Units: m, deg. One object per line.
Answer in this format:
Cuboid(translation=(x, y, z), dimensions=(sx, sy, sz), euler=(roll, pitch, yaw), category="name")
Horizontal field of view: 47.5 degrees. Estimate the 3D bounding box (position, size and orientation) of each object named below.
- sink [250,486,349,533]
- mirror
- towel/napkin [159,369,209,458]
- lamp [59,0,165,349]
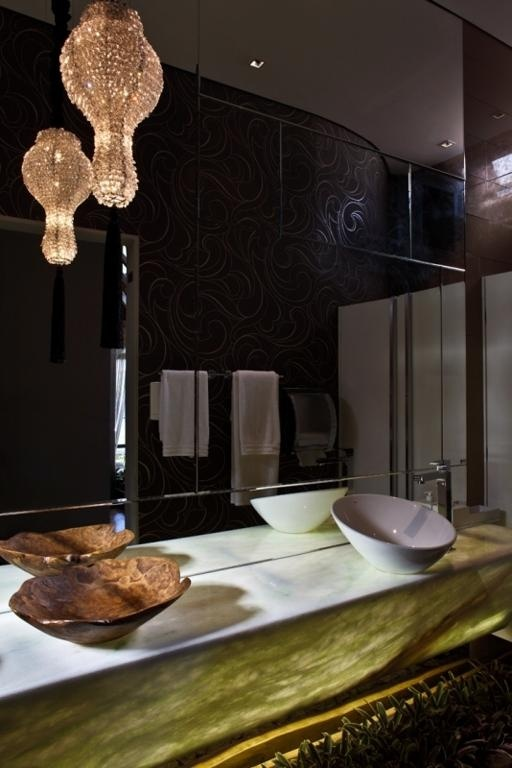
Cuboid(translation=(0.130, 0.424, 1.977), dimensions=(0.192, 0.083, 0.203), euler=(-17, -19, 31), category="sink")
Cuboid(translation=(-0.095, -0.311, 1.806), dimensions=(1.986, 1.468, 0.088), euler=(0, 0, -39), category="mirror")
Cuboid(translation=(-0.219, 0.091, 1.752), dimensions=(0.164, 0.257, 0.026), euler=(1, -4, -33), category="towel/napkin")
Cuboid(translation=(-0.361, -0.559, 1.531), dimensions=(0.244, 0.914, 0.239), euler=(-2, -4, 32), category="lamp")
